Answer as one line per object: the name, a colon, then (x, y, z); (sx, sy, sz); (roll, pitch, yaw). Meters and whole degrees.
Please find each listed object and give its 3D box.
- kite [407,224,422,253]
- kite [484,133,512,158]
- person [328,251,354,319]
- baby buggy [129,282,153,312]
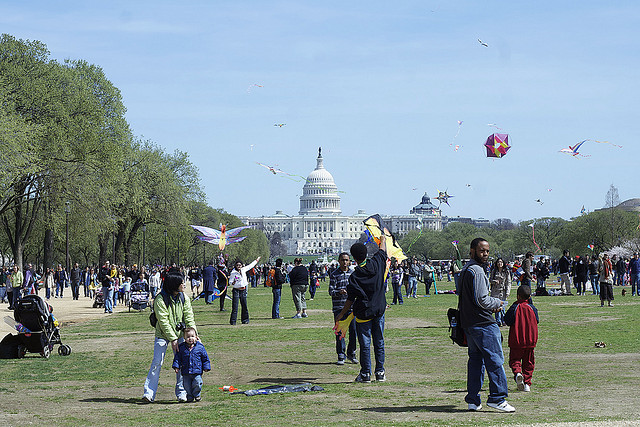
kite: (16.393, 4.222, 218.449); (1.590, 4.493, 1.480); (45, -9, -17)
kite: (8.345, -3.194, 59.261); (0.992, 1.094, 0.733); (-2, -6, 6)
person: (0.743, 2.325, 42.704); (0.765, 2.060, 0.646); (0, 1, -7)
baby buggy: (-8.939, 4.029, 61.657); (1.149, 1.302, 1.973); (-3, 2, -11)
